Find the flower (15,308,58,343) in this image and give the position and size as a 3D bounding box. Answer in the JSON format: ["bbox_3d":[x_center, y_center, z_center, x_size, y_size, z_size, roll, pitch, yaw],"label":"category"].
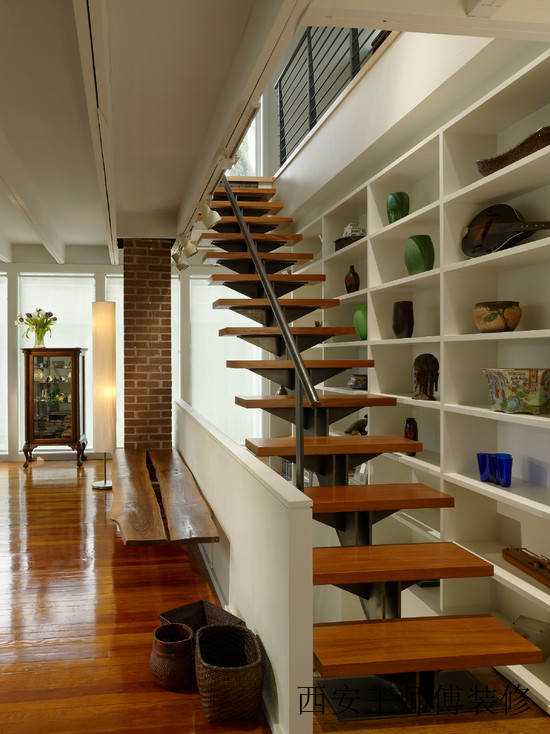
[{"bbox_3d":[-2.965,-0.515,6.941,0.514,0.582,0.512,-2,3,-26],"label":"flower"}]

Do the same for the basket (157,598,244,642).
[{"bbox_3d":[-0.298,1.040,2.267,0.263,0.188,0.146,4,-4,-18],"label":"basket"}]

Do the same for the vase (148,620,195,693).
[{"bbox_3d":[-0.366,1.080,2.090,0.184,0.196,0.190,1,-5,3],"label":"vase"}]

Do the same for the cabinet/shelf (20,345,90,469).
[{"bbox_3d":[-2.659,0.467,6.824,0.729,1.397,0.527,1,3,-6],"label":"cabinet/shelf"}]

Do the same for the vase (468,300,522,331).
[{"bbox_3d":[0.906,-0.201,2.257,0.138,0.103,0.143,0,-4,1],"label":"vase"}]

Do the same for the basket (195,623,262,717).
[{"bbox_3d":[-0.159,1.014,1.872,0.194,0.184,0.267,1,-4,-6],"label":"basket"}]
